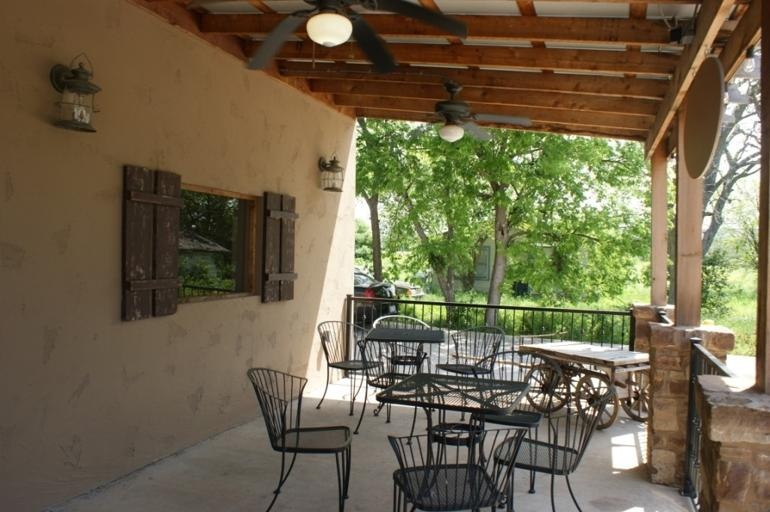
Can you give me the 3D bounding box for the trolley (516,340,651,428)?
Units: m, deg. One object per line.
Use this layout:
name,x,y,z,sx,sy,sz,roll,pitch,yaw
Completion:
trolley,2.571,1.624,7.938,1.329,0.863,0.944,-1,-3,43

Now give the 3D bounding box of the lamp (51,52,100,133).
lamp,-2.749,-1.500,5.628,0.436,0.743,0.388,7,-5,-38

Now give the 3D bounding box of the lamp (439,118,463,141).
lamp,0.765,-1.445,7.175,0.247,0.268,0.368,3,-4,10

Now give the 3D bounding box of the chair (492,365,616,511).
chair,1.828,1.778,6.385,1.172,1.745,1.359,1,1,22

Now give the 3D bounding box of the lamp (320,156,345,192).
lamp,-0.778,-1.172,9.036,0.370,0.599,1.012,4,-4,-4

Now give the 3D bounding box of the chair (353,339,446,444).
chair,0.118,1.463,7.779,0.985,1.556,1.090,3,8,11

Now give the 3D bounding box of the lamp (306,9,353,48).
lamp,-0.436,-1.803,4.983,0.335,0.214,0.191,4,-4,-4

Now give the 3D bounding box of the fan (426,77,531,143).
fan,0.994,-1.581,7.274,0.909,0.423,0.953,-2,2,-39
